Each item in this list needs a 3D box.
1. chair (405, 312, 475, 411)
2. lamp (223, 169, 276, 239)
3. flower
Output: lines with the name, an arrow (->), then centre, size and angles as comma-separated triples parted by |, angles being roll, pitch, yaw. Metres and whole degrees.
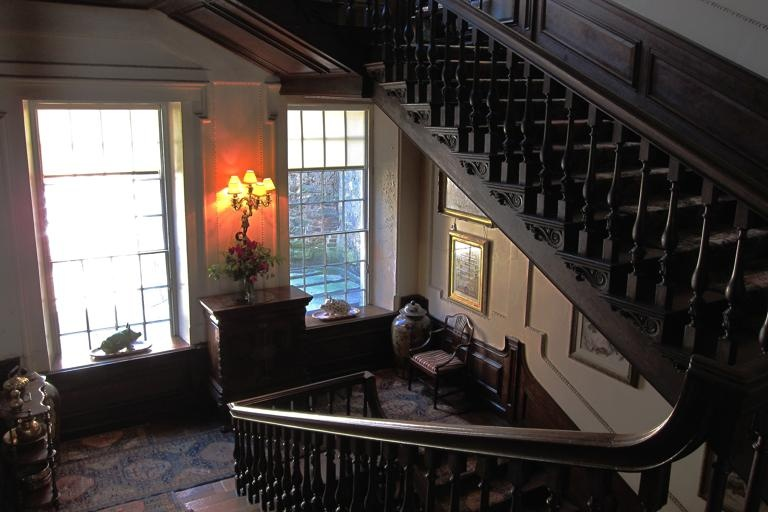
chair -> 0.746, 1.410, 7.394 | 0.821, 1.255, 0.769 | -10, 22, -30
lamp -> -1.645, -0.652, 6.827 | 0.523, 0.728, 0.520 | 21, 23, 4
flower -> -1.636, 0.038, 6.747 | 0.636, 0.442, 0.636 | 18, 23, 36
